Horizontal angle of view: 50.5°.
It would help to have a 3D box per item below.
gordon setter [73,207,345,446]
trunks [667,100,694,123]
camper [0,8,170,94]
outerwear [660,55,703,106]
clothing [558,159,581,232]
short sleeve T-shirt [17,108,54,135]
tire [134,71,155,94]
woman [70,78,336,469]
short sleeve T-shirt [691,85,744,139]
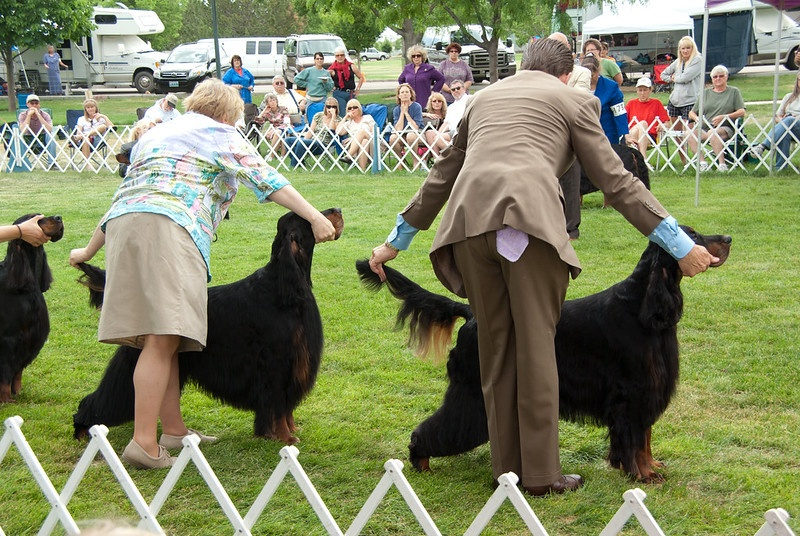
[{"bbox_3d":[-1.438,0.492,7.086,2.105,1.774,0.709,-1,5,19],"label":"gordon setter"},{"bbox_3d":[4.981,-2.783,15.132,0.311,0.509,0.524,-18,17,-39],"label":"trunks"},{"bbox_3d":[-12.438,-8.531,33.655,6.255,3.519,3.371,-2,22,0],"label":"camper"},{"bbox_3d":[4.978,-3.316,14.992,0.531,0.896,0.719,-14,18,-28],"label":"outerwear"},{"bbox_3d":[2.212,-0.916,10.733,0.199,0.847,0.241,6,-11,-17],"label":"clothing"},{"bbox_3d":[-7.815,-3.132,18.185,0.504,0.472,0.694,-6,1,-18],"label":"short sleeve T-shirt"},{"bbox_3d":[-9.785,-7.180,32.597,0.898,0.905,0.318,16,-6,-14],"label":"tire"},{"bbox_3d":[-1.601,0.039,6.466,1.392,2.870,0.674,-6,14,-21],"label":"woman"},{"bbox_3d":[5.513,-2.763,14.692,0.773,0.739,0.423,2,3,24],"label":"short sleeve T-shirt"}]
